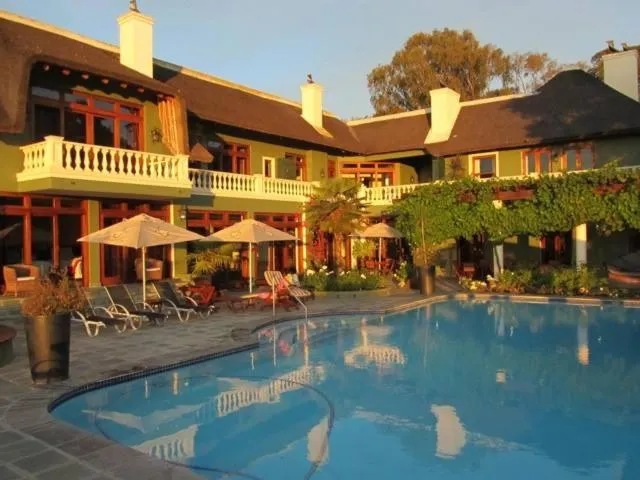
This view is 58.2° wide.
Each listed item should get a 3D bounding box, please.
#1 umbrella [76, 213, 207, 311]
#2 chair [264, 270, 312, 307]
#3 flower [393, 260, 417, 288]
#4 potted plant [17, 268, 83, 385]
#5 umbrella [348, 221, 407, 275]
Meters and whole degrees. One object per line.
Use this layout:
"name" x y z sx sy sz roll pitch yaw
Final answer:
"umbrella" -5.818 0.445 19.049 3.217 2.438 3.204 0 3 -5
"chair" -1.222 1.819 22.479 1.664 1.038 1.252 8 9 34
"flower" 4.382 1.785 28.988 1.085 1.237 1.034 -6 -6 43
"potted plant" -6.302 1.975 13.430 1.491 2.651 1.370 -8 -9 10
"umbrella" 2.946 0.297 29.538 2.603 2.688 2.633 0 0 -8
